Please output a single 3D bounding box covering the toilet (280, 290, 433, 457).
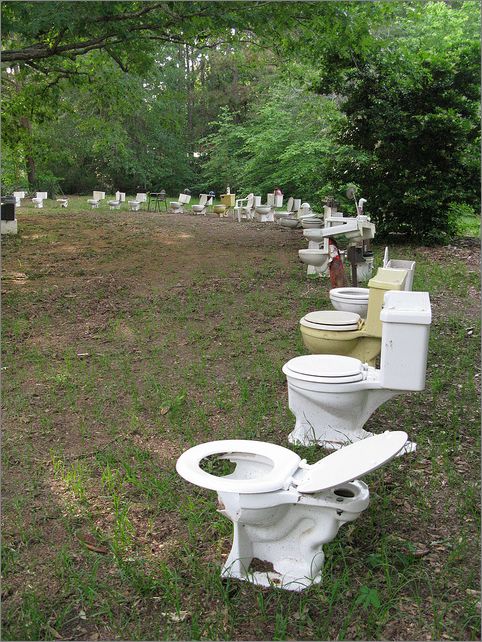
[{"bbox_3d":[0.690,0.336,3.711,0.868,0.816,0.511,3,5,9],"label":"toilet"}]

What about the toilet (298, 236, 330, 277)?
[{"bbox_3d":[1.094,-0.902,8.407,0.544,0.532,0.334,0,18,-5],"label":"toilet"}]

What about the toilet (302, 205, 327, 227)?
[{"bbox_3d":[1.148,-1.642,9.685,0.344,0.220,0.285,2,8,41],"label":"toilet"}]

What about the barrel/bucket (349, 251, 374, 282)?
[{"bbox_3d":[1.539,-0.634,7.477,0.336,0.425,0.325,-2,18,1],"label":"barrel/bucket"}]

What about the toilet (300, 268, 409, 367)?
[{"bbox_3d":[0.781,0.017,4.333,0.683,0.687,0.422,2,11,26],"label":"toilet"}]

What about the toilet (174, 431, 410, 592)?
[{"bbox_3d":[0.257,0.787,2.784,1.080,0.694,0.552,6,16,22],"label":"toilet"}]
